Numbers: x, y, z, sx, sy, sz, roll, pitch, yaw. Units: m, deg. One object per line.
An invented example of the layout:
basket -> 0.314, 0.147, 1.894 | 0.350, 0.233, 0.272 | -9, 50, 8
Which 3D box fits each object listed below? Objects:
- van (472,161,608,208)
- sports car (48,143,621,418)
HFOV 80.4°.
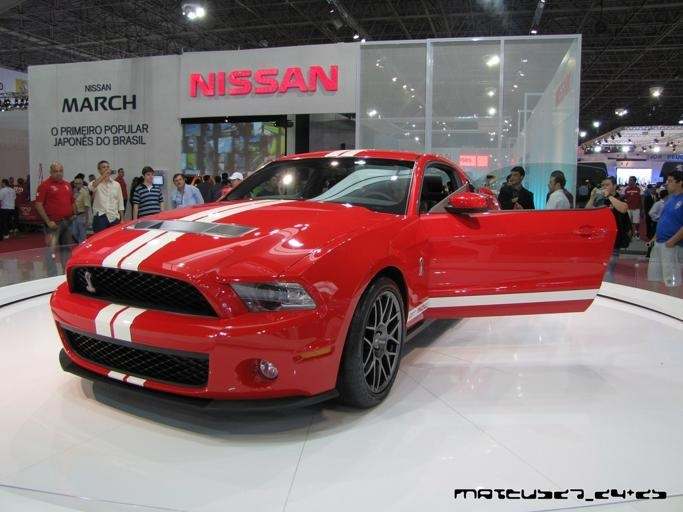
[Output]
van -> 3.498, -1.329, 7.308 | 2.308, 0.796, 2.289 | 1, 7, 9
sports car -> 0.103, 0.106, 2.726 | 2.301, 0.785, 2.574 | 0, 2, 38
